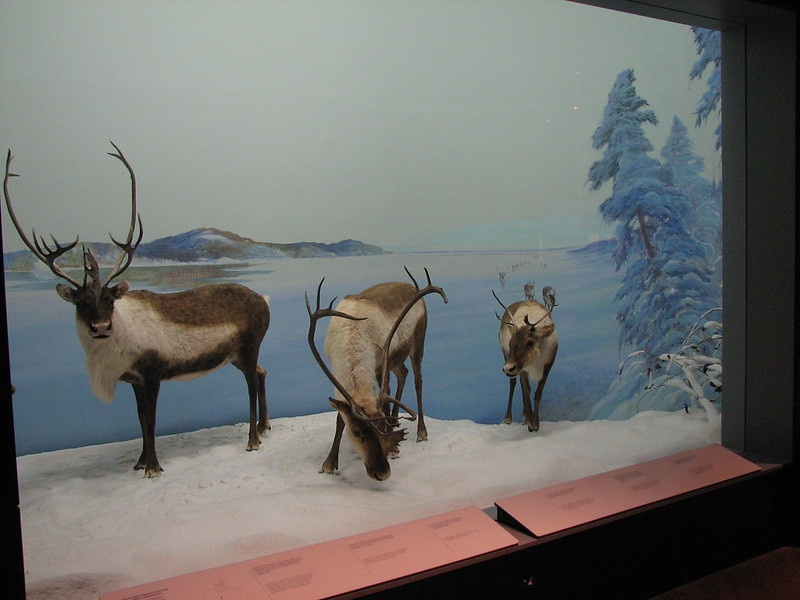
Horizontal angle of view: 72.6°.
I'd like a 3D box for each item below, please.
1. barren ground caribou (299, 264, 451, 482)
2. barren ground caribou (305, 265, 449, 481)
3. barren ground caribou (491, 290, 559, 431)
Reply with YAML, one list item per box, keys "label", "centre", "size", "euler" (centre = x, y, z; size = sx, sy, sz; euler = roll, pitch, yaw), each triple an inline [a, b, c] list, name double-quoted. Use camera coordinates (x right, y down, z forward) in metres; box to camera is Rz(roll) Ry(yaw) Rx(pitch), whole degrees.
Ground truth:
- label: "barren ground caribou"
  centre: [0.135, 0.368, 3.096]
  size: [0.638, 1.091, 1.397]
  euler: [-1, 11, 11]
- label: "barren ground caribou"
  centre: [0.128, 0.361, 3.097]
  size: [0.627, 1.087, 1.390]
  euler: [-1, 10, 12]
- label: "barren ground caribou"
  centre: [0.914, 0.477, 4.004]
  size: [0.408, 0.998, 1.266]
  euler: [2, 2, 14]
